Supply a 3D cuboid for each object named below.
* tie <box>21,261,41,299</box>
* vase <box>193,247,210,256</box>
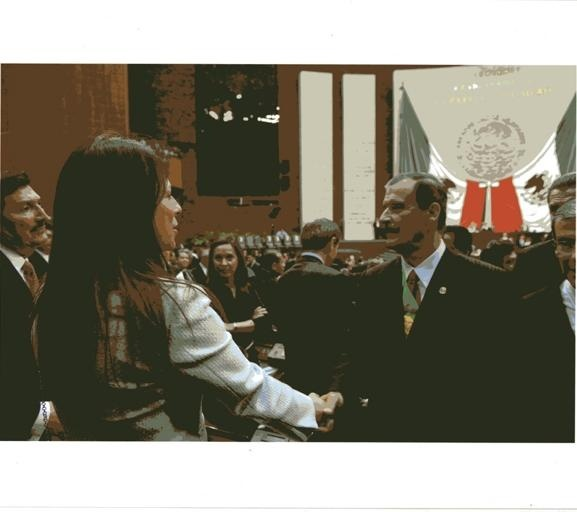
[{"bbox_3d":[-1.991,0.133,5.096,0.099,0.082,0.386,8,26,-38],"label":"tie"},{"bbox_3d":[-0.668,-0.036,5.045,0.083,0.069,0.074,-4,6,-36],"label":"vase"}]
